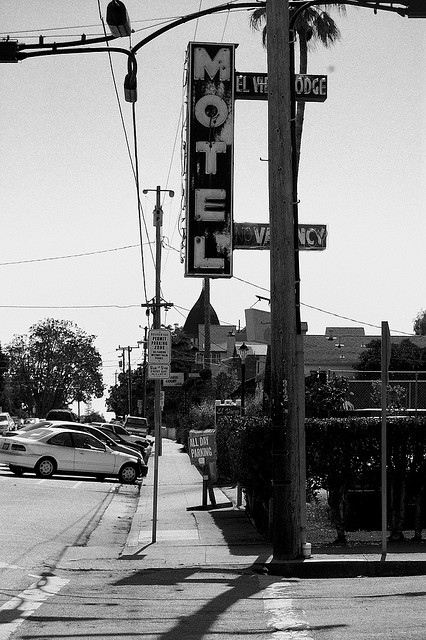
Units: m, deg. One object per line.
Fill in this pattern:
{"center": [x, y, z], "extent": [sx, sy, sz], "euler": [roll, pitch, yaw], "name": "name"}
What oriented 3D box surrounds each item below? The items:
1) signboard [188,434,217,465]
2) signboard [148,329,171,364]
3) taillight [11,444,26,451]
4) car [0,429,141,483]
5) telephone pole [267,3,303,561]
{"center": [-0.167, 2.201, 19.141], "extent": [0.390, 0.592, 0.067], "euler": [-14, -19, 22], "name": "signboard"}
{"center": [-0.717, 0.355, 14.969], "extent": [0.274, 0.618, 0.063], "euler": [1, -10, -8], "name": "signboard"}
{"center": [-4.414, 2.888, 25.362], "extent": [0.192, 0.114, 0.169], "euler": [13, -5, -16], "name": "taillight"}
{"center": [-3.420, 3.050, 26.214], "extent": [2.391, 1.247, 1.388], "euler": [2, -2, -23], "name": "car"}
{"center": [0.796, -0.490, 12.385], "extent": [0.526, 6.166, 0.423], "euler": [1, -6, 6], "name": "telephone pole"}
